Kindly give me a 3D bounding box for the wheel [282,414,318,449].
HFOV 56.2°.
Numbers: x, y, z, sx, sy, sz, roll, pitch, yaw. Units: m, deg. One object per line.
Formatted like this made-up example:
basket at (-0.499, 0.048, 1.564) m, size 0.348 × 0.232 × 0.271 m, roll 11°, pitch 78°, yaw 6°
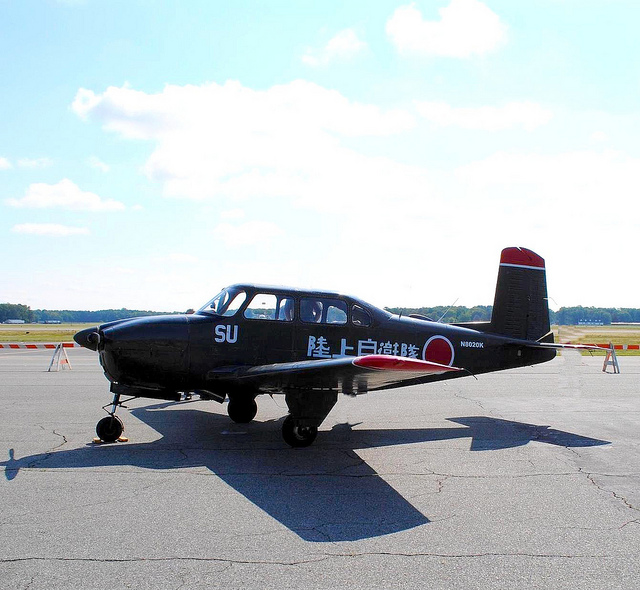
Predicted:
wheel at (-0.277, 1.867, 8.374) m, size 0.494 × 0.483 × 0.382 m, roll 1°, pitch 0°, yaw -9°
